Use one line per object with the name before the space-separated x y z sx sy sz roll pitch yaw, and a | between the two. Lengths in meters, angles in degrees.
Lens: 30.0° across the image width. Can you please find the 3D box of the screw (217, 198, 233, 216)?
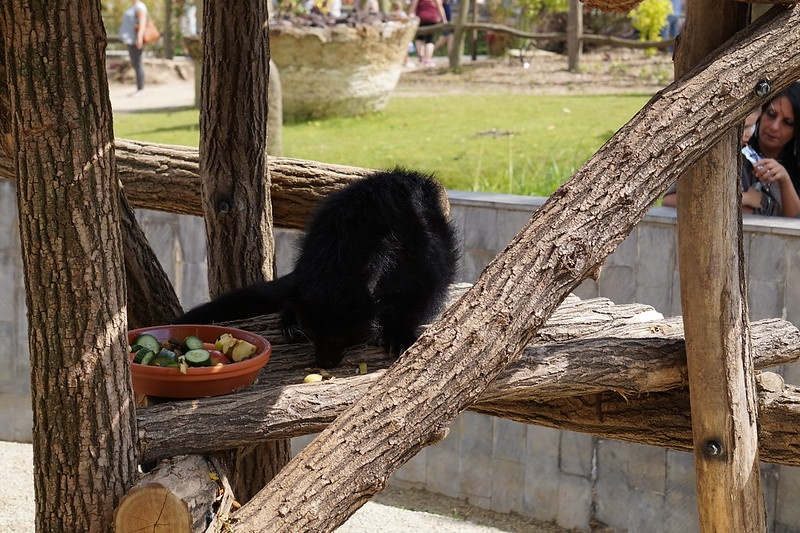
screw | -0.948 -0.331 8.082 0.081 0.084 0.026 3 -3 0

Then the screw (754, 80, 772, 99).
screw | 1.736 -0.853 7.120 0.077 0.080 0.018 -8 18 -25

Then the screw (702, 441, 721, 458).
screw | 1.579 0.922 7.538 0.083 0.086 0.020 -2 8 20

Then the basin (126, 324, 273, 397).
basin | -0.880 0.444 7.506 0.543 0.133 0.523 14 -18 5

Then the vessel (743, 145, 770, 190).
vessel | 2.219 -0.655 9.341 0.130 0.214 0.055 -16 -25 -23
